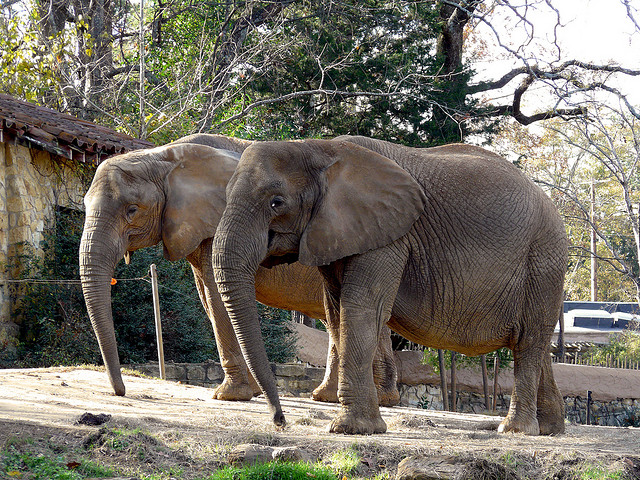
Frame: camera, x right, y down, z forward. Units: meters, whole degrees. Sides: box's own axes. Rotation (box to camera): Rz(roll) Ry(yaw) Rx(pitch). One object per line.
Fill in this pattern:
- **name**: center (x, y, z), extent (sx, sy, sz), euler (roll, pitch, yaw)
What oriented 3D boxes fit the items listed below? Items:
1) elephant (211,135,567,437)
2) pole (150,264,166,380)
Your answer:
- **elephant**: center (1.268, 0.702, 12.502), extent (5.385, 4.147, 2.439), euler (3, 2, -12)
- **pole**: center (-2.820, 1.446, 15.173), extent (0.231, 2.025, 0.304), euler (-3, 8, -28)
